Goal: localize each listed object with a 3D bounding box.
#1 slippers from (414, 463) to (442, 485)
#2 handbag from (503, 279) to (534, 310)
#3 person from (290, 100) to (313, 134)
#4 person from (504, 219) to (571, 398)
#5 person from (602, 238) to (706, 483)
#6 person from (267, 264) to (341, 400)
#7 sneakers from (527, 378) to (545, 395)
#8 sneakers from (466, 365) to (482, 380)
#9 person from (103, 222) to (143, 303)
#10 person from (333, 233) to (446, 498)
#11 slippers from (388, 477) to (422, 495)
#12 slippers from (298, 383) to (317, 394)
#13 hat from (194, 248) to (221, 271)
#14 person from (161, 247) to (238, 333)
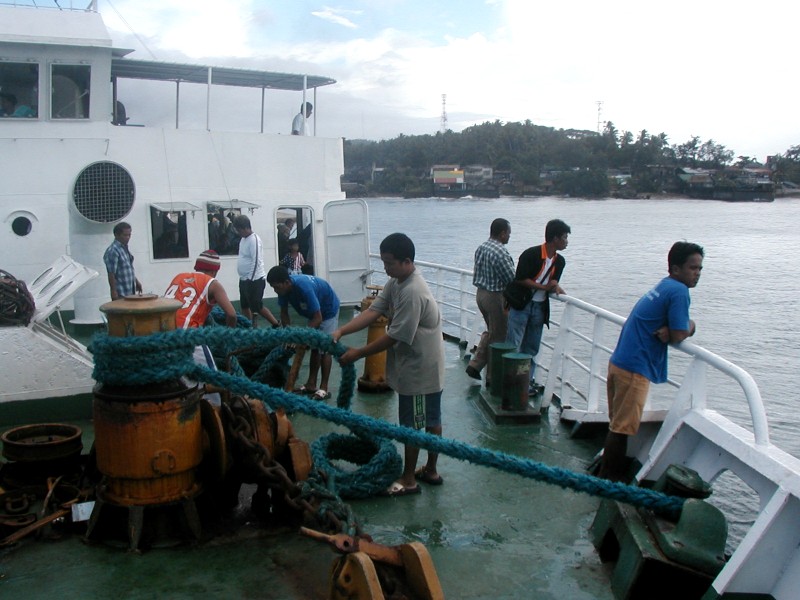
[{"bbox_3d":[0.241,1.513,5.210,0.109,0.118,0.267,-4,10,-34],"label":"slippers"},{"bbox_3d":[1.438,-0.071,7.138,0.155,0.214,0.298,-7,-29,-40],"label":"handbag"},{"bbox_3d":[-1.985,-3.689,11.906,0.395,0.695,2.262,-1,14,-9],"label":"person"},{"bbox_3d":[1.617,0.126,7.234,0.679,2.204,0.886,5,14,18],"label":"person"},{"bbox_3d":[1.963,0.515,4.710,0.574,1.951,0.423,7,14,24],"label":"person"},{"bbox_3d":[-1.141,0.412,7.119,0.767,1.733,1.293,-1,14,-7],"label":"person"},{"bbox_3d":[1.764,1.111,7.652,0.131,0.163,0.405,-4,-6,-3],"label":"sneakers"},{"bbox_3d":[0.967,0.961,7.756,0.156,0.196,0.150,-43,8,-13],"label":"sneakers"},{"bbox_3d":[-4.014,-0.556,8.545,0.422,1.118,0.773,-6,15,-26],"label":"person"},{"bbox_3d":[-0.031,0.335,4.846,0.782,1.731,0.607,1,13,0],"label":"person"},{"bbox_3d":[0.029,1.564,5.021,0.294,0.122,0.107,3,-7,-18],"label":"slippers"},{"bbox_3d":[-1.149,1.086,7.290,0.189,0.078,0.091,6,-2,-17],"label":"slippers"},{"bbox_3d":[-1.997,-0.428,6.156,0.264,0.283,0.207,-1,7,5],"label":"hat"},{"bbox_3d":[-1.909,-0.022,5.801,0.565,0.721,0.744,5,14,17],"label":"person"}]
